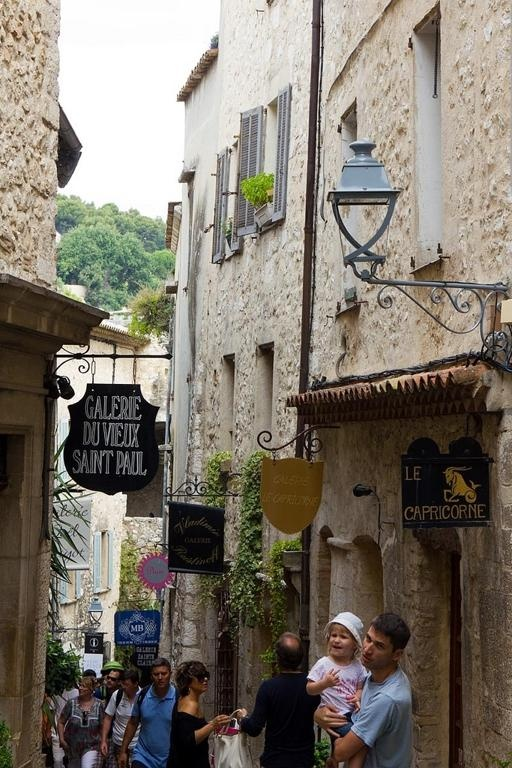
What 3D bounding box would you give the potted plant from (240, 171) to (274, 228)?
[{"bbox_3d":[0.042,-1.991,13.713,0.402,0.652,0.594,-2,-12,0],"label":"potted plant"}]
